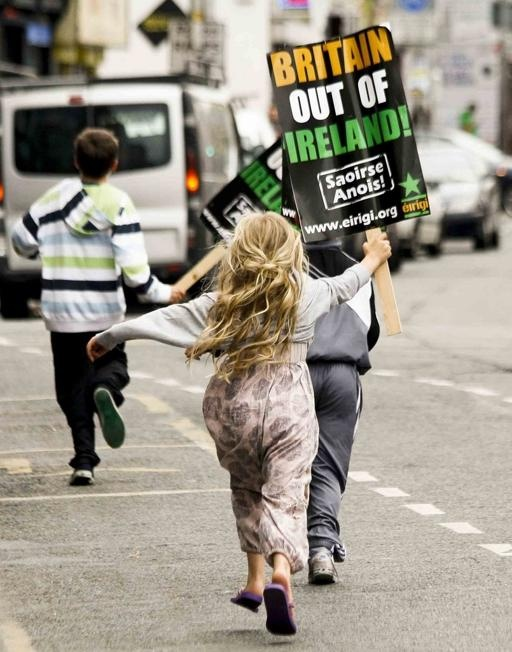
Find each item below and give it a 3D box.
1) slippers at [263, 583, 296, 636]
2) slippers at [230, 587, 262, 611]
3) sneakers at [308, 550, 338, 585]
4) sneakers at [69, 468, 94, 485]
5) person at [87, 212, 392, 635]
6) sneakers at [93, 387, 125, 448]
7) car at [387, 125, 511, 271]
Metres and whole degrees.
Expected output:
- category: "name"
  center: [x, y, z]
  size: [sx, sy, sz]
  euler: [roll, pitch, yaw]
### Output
- category: "slippers"
  center: [0.062, 0.739, 2.604]
  size: [0.079, 0.192, 0.059]
  euler: [1, 34, 11]
- category: "slippers"
  center: [-0.022, 0.797, 2.893]
  size: [0.048, 0.041, 0.116]
  euler: [2, -3, -8]
- category: "sneakers"
  center: [0.229, 0.857, 3.474]
  size: [0.068, 0.076, 0.159]
  euler: [0, 1, 4]
- category: "sneakers"
  center: [-0.938, 0.816, 5.328]
  size: [0.065, 0.067, 0.149]
  euler: [1, 0, -2]
- category: "person"
  center: [-0.055, 0.259, 2.921]
  size: [0.610, 1.174, 0.692]
  euler: [1, 2, 27]
- category: "sneakers"
  center: [-0.711, 0.447, 4.801]
  size: [0.126, 0.323, 0.140]
  euler: [-21, -8, 5]
- category: "car"
  center: [4.401, -2.956, 22.302]
  size: [3.071, 2.689, 5.406]
  euler: [0, 10, 10]
